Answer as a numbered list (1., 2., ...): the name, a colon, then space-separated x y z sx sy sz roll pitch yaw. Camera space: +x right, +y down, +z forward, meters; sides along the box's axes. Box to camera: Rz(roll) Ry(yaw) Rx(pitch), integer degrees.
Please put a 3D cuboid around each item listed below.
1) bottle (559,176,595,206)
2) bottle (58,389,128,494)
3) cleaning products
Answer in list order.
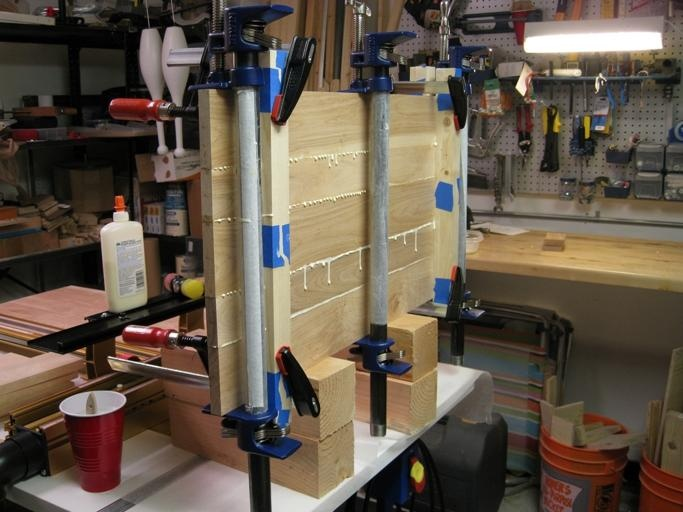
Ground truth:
1. bottle: 1.397 -0.388 3.420 0.211 0.140 0.106 5 17 23
2. bottle: -0.622 0.443 1.466 0.146 0.236 0.198 -10 17 -27
3. cleaning products: -0.590 -0.008 1.549 0.115 0.308 0.111 -9 17 -22
